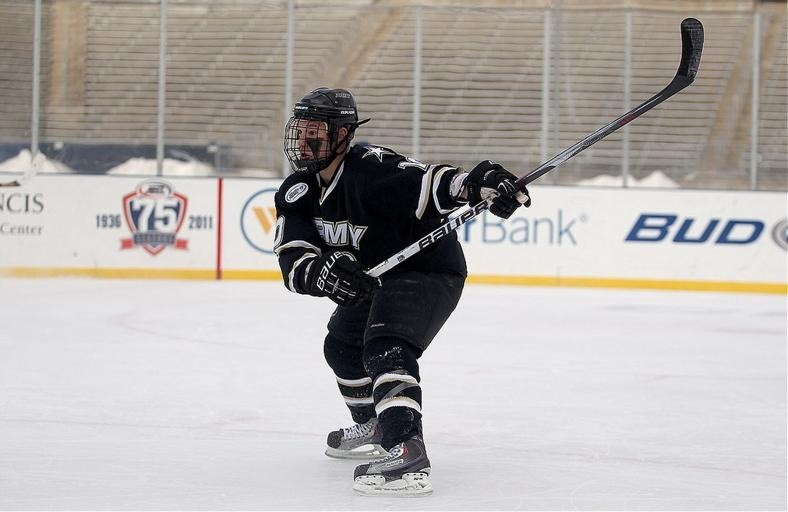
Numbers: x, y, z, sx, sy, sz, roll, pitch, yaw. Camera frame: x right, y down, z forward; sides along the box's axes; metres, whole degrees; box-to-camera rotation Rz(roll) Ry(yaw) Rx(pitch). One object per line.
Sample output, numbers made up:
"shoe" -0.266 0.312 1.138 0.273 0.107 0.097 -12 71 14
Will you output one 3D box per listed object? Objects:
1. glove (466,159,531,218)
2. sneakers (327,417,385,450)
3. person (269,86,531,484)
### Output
"glove" 0.702 -0.464 8.918 0.469 0.340 0.228 38 12 17
"sneakers" -0.356 1.288 9.257 0.522 0.252 0.156 1 -6 -10
"person" -0.126 0.203 9.107 1.493 2.668 1.035 11 18 32
